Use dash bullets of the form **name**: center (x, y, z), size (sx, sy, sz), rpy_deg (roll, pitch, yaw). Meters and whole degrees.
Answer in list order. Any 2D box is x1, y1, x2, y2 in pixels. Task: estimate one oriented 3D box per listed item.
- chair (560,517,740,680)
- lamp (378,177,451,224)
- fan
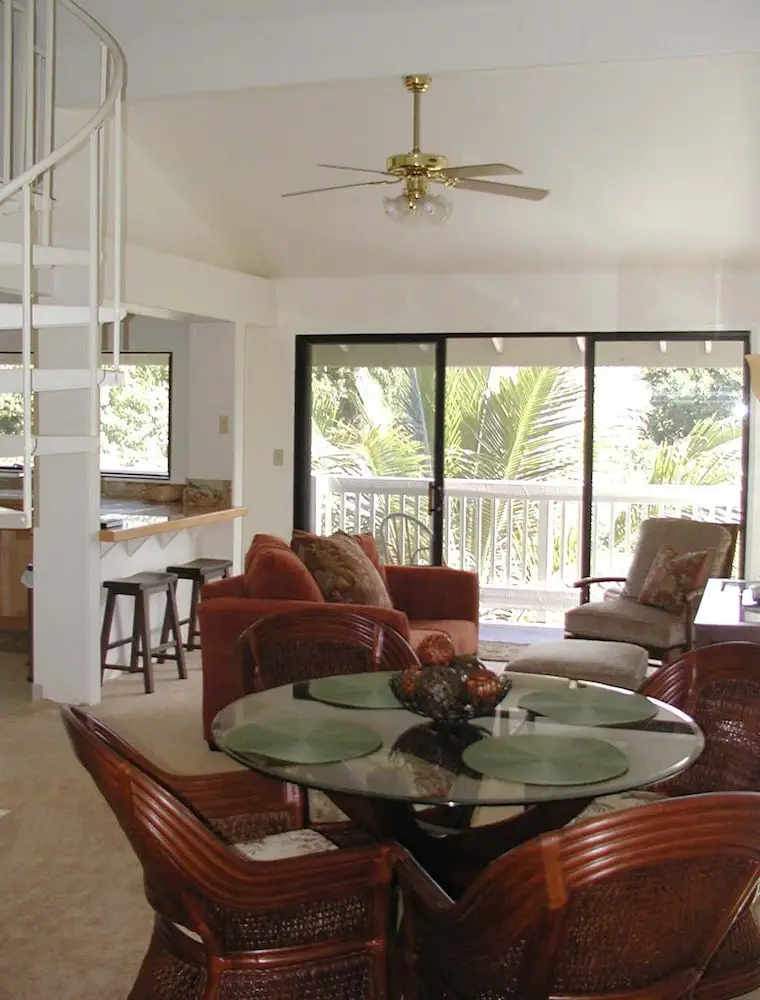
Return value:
- **chair**: center (1.506, 0.575, 4.865), size (0.874, 0.736, 0.614), rpy_deg (-12, 17, -40)
- **lamp**: center (0.123, -1.062, 3.105), size (0.198, 0.125, 0.201), rpy_deg (-2, 4, -35)
- **fan**: center (0.194, -1.720, 4.043), size (0.948, 0.448, 0.831), rpy_deg (2, 5, 24)
